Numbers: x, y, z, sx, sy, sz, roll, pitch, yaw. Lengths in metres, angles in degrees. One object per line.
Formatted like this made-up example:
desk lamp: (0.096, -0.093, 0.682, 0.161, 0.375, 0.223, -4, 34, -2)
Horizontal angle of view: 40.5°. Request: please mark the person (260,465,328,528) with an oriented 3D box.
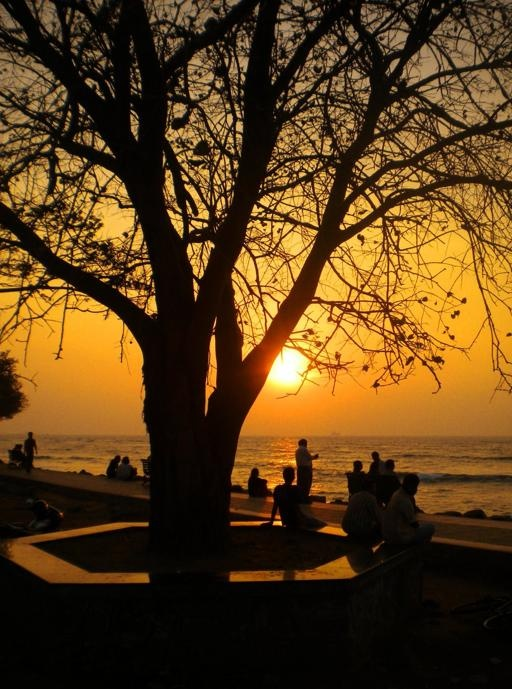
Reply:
person: (0.477, 1.879, 8.382, 0.777, 0.845, 0.614, 9, -15, -39)
